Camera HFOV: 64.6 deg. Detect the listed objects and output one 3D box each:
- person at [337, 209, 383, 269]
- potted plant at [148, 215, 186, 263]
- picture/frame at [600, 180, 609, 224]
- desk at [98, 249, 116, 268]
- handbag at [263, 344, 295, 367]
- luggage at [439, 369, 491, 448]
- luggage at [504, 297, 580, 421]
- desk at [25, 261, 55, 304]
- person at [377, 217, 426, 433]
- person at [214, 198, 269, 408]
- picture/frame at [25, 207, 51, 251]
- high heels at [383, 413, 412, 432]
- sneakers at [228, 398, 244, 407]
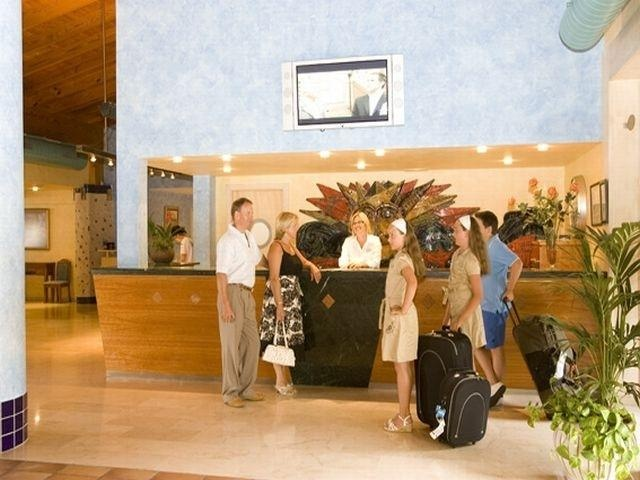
[{"bbox_3d":[0.579,-0.003,7.262,0.577,0.754,0.511,0,2,21],"label":"person"},{"bbox_3d":[-2.329,0.039,7.742,0.527,0.623,0.593,6,4,-36],"label":"potted plant"},{"bbox_3d":[3.213,-0.434,5.769,0.058,0.501,0.249,0,2,17],"label":"picture/frame"},{"bbox_3d":[-5.818,0.492,14.017,0.438,0.435,0.457,1,3,17],"label":"desk"},{"bbox_3d":[-0.442,1.268,5.641,0.266,0.249,0.102,4,-8,4],"label":"handbag"},{"bbox_3d":[1.249,1.461,4.522,0.444,0.668,0.381,-4,12,-33],"label":"luggage"},{"bbox_3d":[2.384,1.156,5.338,0.417,1.244,0.869,-26,-24,30],"label":"luggage"},{"bbox_3d":[-8.746,1.189,15.616,0.386,1.117,1.120,-1,-1,8],"label":"desk"},{"bbox_3d":[0.758,0.802,4.739,0.411,1.977,0.331,0,2,10],"label":"person"},{"bbox_3d":[-0.877,0.673,5.596,0.341,2.238,0.528,1,3,28],"label":"person"},{"bbox_3d":[-8.695,-0.346,15.714,0.834,1.278,0.108,0,2,11],"label":"picture/frame"},{"bbox_3d":[0.740,1.713,4.806,0.231,0.133,0.137,0,-1,31],"label":"high heels"},{"bbox_3d":[-0.901,1.741,5.449,0.138,0.061,0.081,-6,-10,25],"label":"sneakers"}]
